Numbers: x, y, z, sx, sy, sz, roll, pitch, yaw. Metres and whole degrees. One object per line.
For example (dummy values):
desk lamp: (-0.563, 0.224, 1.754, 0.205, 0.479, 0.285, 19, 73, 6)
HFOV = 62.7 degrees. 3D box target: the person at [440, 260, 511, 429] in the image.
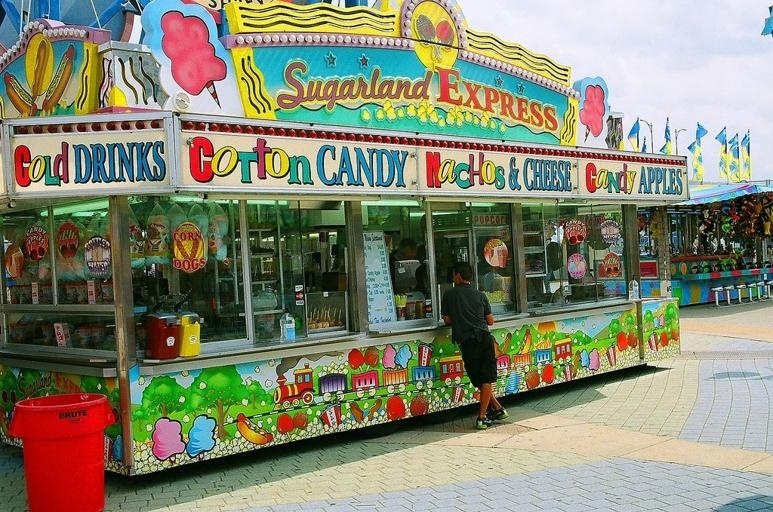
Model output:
person: (1.211, 1.230, 8.695, 0.613, 1.988, 0.859, -1, -1, 42)

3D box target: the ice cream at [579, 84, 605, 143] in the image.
ice cream: (4.033, -2.844, 12.338, 0.774, 1.039, 0.285, -4, 3, -38)

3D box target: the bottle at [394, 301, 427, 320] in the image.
bottle: (0.352, 0.772, 9.011, 0.478, 0.260, 0.104, -4, 3, -38)

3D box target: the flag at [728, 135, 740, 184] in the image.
flag: (15.851, -4.494, 29.179, 0.455, 2.128, 1.160, -1, 3, 29)

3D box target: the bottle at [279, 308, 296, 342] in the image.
bottle: (-1.254, 0.885, 8.096, 0.178, 0.374, 0.189, -2, 2, 0)
